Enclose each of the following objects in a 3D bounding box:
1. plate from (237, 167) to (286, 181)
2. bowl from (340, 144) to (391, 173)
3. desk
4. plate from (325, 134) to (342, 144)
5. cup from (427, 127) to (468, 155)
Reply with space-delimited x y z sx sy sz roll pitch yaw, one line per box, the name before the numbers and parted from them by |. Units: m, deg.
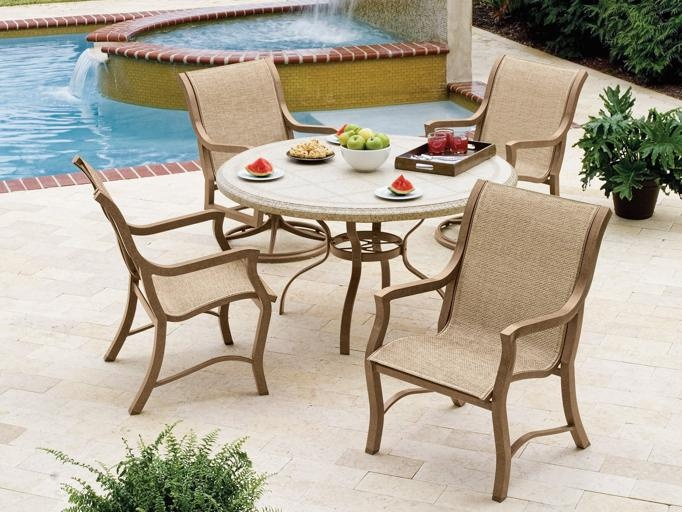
plate | -0.473 -0.497 3.732 0.167 0.015 0.145 -13 26 -33
bowl | 0.156 -0.603 3.735 0.263 0.081 0.196 3 20 12
desk | 0.195 -0.167 4.237 2.230 0.794 1.557 2 27 6
plate | -0.052 -0.854 4.422 0.127 0.012 0.088 -6 36 -13
cup | 0.697 -0.736 3.917 0.327 0.099 0.144 3 29 11
